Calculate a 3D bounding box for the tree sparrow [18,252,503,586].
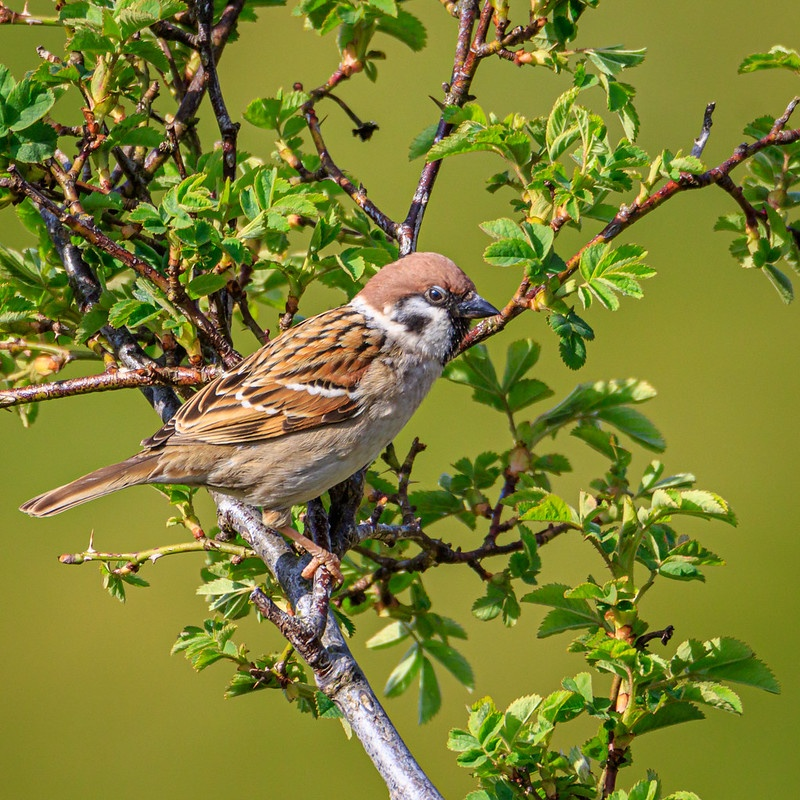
[{"bbox_3d":[-0.466,0.047,3.754,1.642,0.503,0.932,-4,-78,3],"label":"tree sparrow"}]
